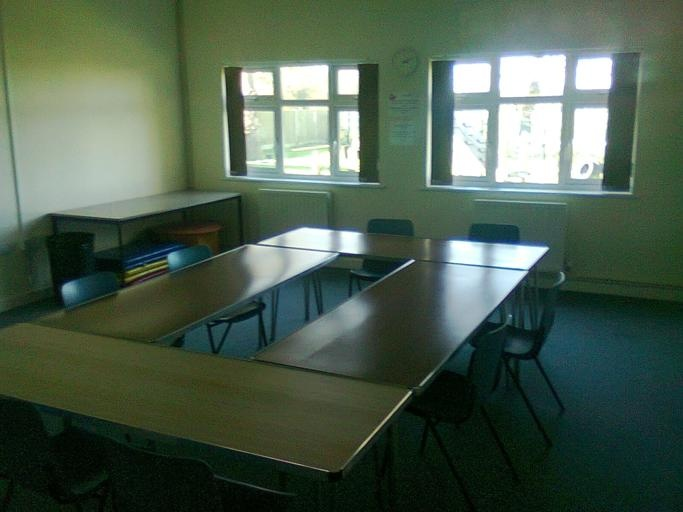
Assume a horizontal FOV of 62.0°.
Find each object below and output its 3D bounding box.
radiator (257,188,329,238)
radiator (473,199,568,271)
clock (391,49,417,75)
[{"bbox_3d":[-0.526,-0.512,6.514,0.712,0.569,0.074,4,14,19],"label":"radiator"},{"bbox_3d":[1.684,-0.186,5.175,0.732,0.574,0.240,4,11,17],"label":"radiator"},{"bbox_3d":[0.691,-2.091,6.131,0.274,0.255,0.064,4,18,24],"label":"clock"}]
